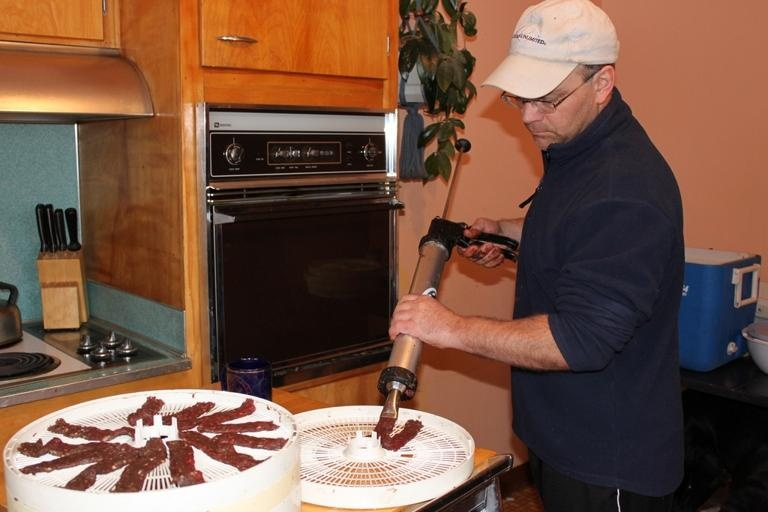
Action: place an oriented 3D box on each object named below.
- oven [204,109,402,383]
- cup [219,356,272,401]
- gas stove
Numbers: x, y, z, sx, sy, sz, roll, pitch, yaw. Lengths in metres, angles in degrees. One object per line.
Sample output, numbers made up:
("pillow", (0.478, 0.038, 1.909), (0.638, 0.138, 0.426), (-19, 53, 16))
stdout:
("oven", (-0.415, -0.045, 2.425), (0.851, 0.932, 0.707), (-6, 10, -25))
("cup", (-0.369, 0.333, 1.760), (0.149, 0.144, 0.094), (5, 11, 18))
("gas stove", (-1.086, 0.260, 2.169), (0.499, 0.187, 0.691), (-10, 14, -34))
